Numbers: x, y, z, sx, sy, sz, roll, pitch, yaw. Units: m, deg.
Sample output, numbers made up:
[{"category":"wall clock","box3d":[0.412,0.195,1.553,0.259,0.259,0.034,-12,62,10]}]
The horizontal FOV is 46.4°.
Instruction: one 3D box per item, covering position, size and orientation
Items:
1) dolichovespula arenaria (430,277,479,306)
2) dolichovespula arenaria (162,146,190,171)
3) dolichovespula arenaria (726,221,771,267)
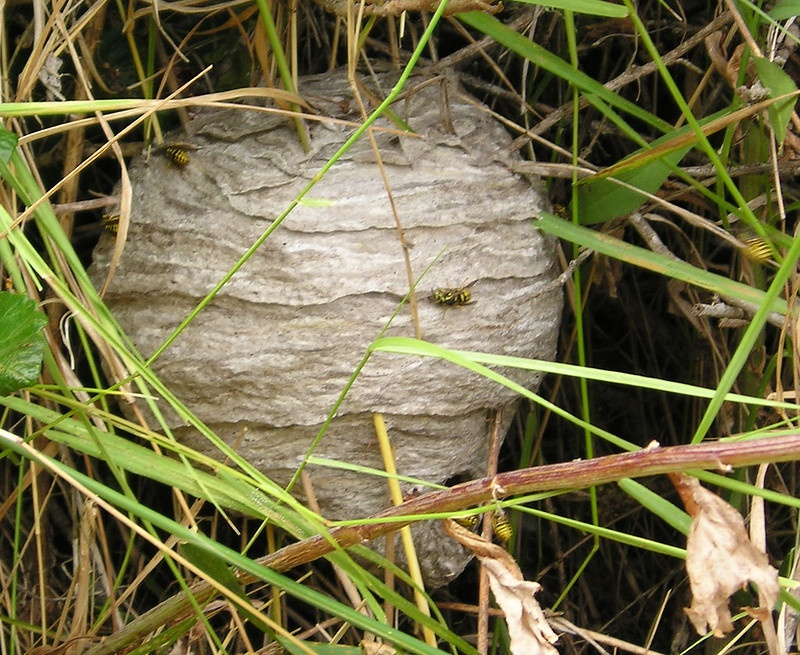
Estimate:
[{"category":"dolichovespula arenaria","box3d":[0.090,-0.050,1.573,0.062,0.038,0.017,-7,16,-14]},{"category":"dolichovespula arenaria","box3d":[-0.389,-0.304,1.649,0.018,0.034,0.052,16,2,-39]},{"category":"dolichovespula arenaria","box3d":[0.558,-0.140,1.532,0.058,0.034,0.083,-26,19,13]}]
